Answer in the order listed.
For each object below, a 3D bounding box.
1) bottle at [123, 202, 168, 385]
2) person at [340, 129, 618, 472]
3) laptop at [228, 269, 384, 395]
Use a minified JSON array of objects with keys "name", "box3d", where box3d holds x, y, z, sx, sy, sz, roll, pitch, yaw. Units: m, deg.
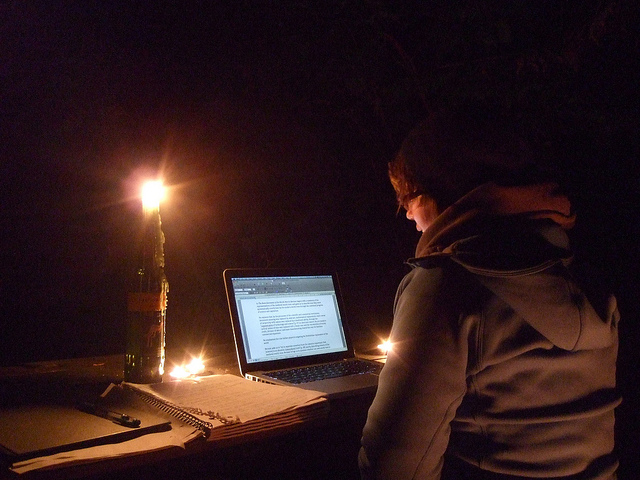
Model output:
[{"name":"bottle","box3d":[-0.498,0.142,1.560,0.100,0.517,0.137,4,-5,-32]},{"name":"person","box3d":[0.393,0.137,1.318,0.630,0.809,0.347,-2,-23,-5]},{"name":"laptop","box3d":[-0.004,0.259,1.728,0.519,0.377,0.487,1,-9,-31]}]
